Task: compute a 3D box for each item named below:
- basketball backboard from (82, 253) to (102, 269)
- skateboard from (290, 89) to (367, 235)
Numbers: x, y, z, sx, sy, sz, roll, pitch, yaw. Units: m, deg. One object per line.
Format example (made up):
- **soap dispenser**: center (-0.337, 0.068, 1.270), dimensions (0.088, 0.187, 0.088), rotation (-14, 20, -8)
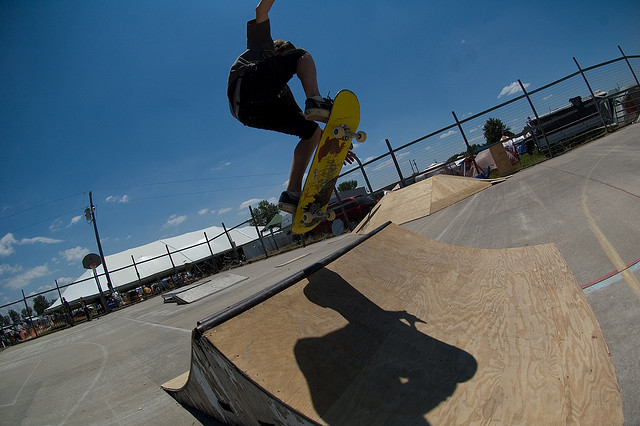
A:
- **basketball backboard**: center (-10.991, 2.264, 17.060), dimensions (0.752, 0.746, 0.604), rotation (-19, -2, -36)
- **skateboard**: center (0.062, -0.554, 4.029), dimensions (0.493, 0.292, 2.082), rotation (2, -61, -43)
